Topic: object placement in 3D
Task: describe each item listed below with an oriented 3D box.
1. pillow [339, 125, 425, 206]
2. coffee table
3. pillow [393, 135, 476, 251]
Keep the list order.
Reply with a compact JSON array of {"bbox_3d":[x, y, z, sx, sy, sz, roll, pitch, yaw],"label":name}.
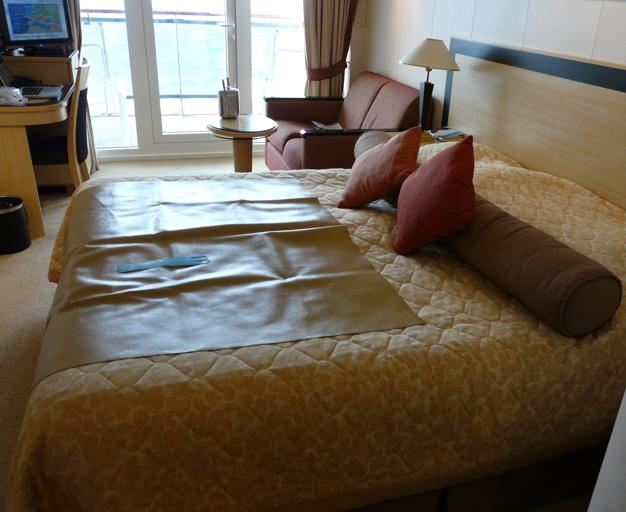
[{"bbox_3d":[0.340,-0.423,2.472,0.195,0.336,0.509,6,-7,-27],"label":"pillow"},{"bbox_3d":[-0.481,-0.911,3.787,0.493,0.521,0.476,5,39,2],"label":"coffee table"},{"bbox_3d":[0.489,-0.234,1.950,0.152,0.429,0.483,26,-28,-23],"label":"pillow"}]
